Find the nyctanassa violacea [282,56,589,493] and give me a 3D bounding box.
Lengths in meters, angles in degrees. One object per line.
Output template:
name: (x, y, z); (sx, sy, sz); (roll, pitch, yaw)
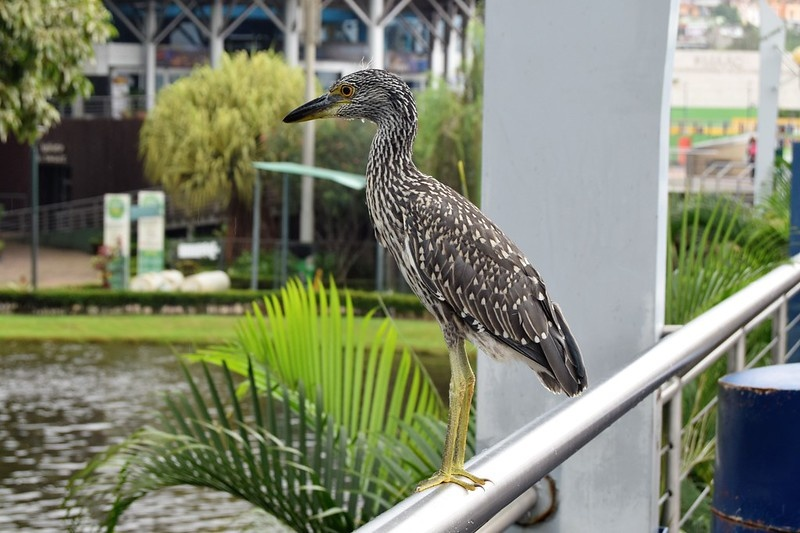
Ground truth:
nyctanassa violacea: (0.128, 0.014, 4.191); (0.905, 1.247, 0.356); (3, 4, 8)
